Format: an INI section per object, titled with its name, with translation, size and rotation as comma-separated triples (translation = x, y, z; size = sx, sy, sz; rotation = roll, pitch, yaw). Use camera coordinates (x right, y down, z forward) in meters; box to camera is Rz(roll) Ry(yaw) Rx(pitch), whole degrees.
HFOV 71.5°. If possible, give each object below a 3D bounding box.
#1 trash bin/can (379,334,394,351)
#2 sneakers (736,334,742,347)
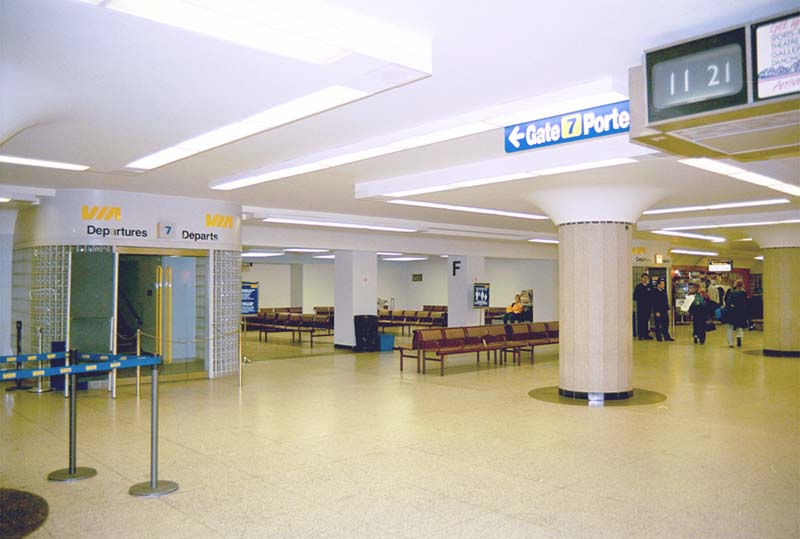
[trash bin/can]
translation = -0.545, 2.420, 18.819
size = 0.531, 0.471, 0.521
rotation = 3, -9, -41
[sneakers]
translation = 12.070, 2.443, 19.623
size = 0.147, 0.386, 0.168
rotation = -4, -8, 16
